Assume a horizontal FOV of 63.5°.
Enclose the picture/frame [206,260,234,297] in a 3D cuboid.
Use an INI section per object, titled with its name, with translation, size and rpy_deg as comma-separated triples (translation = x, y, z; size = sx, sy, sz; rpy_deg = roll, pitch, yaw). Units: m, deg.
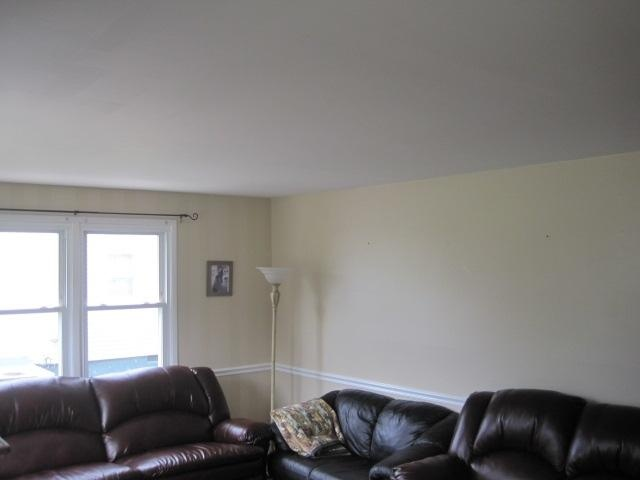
[picture/frame]
translation = -1.165, 0.447, 5.971
size = 0.382, 0.505, 0.035
rpy_deg = 3, -4, -38
